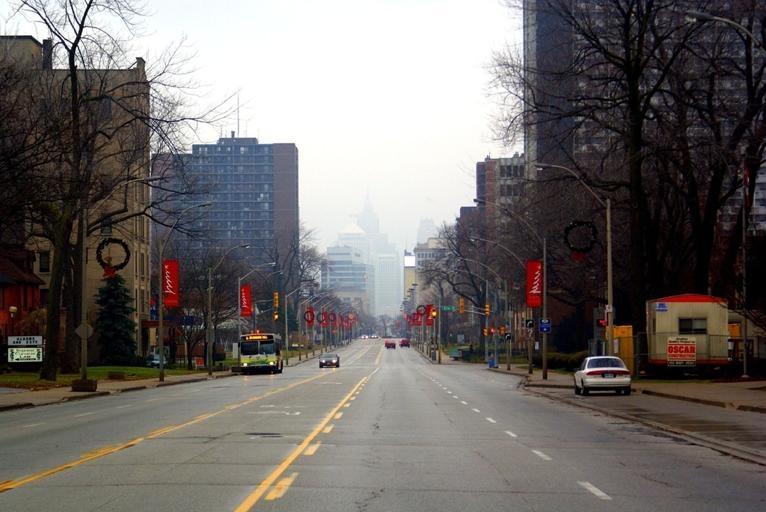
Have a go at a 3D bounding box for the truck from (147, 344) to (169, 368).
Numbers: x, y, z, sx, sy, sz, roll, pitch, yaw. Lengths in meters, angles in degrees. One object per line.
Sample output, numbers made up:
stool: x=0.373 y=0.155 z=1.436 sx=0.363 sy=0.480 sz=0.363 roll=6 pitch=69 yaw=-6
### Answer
truck: x=-22.930 y=10.086 z=94.705 sx=2.319 sy=2.630 sz=4.327 roll=2 pitch=-14 yaw=-14

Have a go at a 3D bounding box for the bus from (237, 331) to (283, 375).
bus: x=-11.234 y=8.762 z=85.093 sx=3.575 sy=3.498 sz=1.908 roll=3 pitch=-7 yaw=-23
